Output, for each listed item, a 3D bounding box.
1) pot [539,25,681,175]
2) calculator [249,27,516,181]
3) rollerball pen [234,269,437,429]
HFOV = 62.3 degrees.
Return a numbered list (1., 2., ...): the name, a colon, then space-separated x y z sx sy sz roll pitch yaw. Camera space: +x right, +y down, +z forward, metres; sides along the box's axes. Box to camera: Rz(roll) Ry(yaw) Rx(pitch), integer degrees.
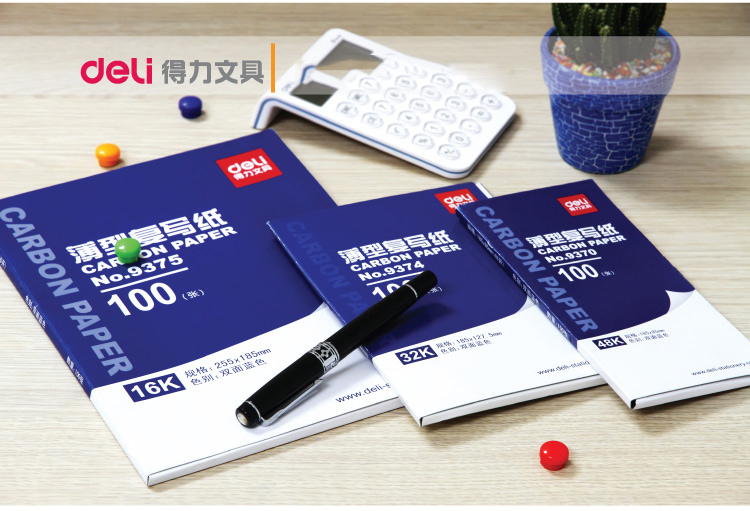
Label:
1. pot: 0.251 -0.213 0.875 0.245 0.163 0.181 -4 39 0
2. calculator: -0.016 -0.202 0.924 0.375 0.083 0.191 18 49 12
3. rollerball pen: -0.054 0.114 0.658 0.029 0.268 0.039 55 25 10
